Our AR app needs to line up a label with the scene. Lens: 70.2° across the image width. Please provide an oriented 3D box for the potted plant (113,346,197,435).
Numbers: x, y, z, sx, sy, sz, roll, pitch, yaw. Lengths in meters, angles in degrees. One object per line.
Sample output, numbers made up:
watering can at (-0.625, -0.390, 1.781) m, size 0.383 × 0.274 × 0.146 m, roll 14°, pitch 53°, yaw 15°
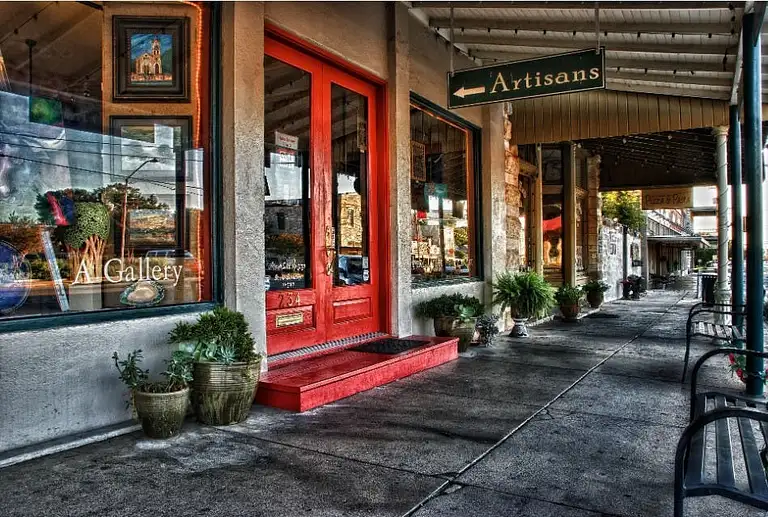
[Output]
potted plant at (-2.166, 1.247, 5.232) m, size 0.725 × 0.770 × 0.493 m, roll 6°, pitch 9°, yaw 33°

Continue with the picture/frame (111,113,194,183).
picture/frame at (-2.493, -1.162, 5.791) m, size 0.843 × 0.661 × 0.061 m, roll 0°, pitch -1°, yaw -37°

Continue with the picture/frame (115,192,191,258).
picture/frame at (-2.477, -0.343, 5.762) m, size 0.720 × 0.649 × 0.046 m, roll 1°, pitch -6°, yaw -43°

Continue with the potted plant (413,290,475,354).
potted plant at (1.064, 0.998, 8.666) m, size 0.899 × 0.783 × 0.950 m, roll -6°, pitch -8°, yaw 38°

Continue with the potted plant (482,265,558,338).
potted plant at (2.602, 0.756, 10.307) m, size 1.295 × 1.090 × 1.249 m, roll 0°, pitch -3°, yaw -8°
